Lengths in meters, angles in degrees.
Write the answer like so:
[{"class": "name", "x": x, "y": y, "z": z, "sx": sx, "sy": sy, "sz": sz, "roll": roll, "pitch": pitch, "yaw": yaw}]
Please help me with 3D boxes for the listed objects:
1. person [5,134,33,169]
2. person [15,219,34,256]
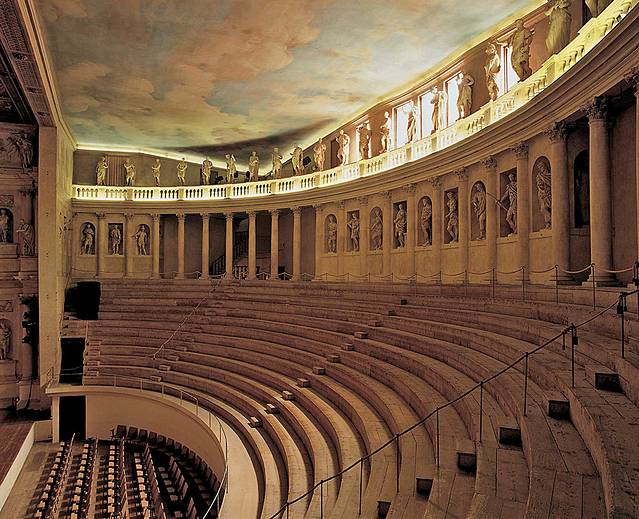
[{"class": "person", "x": -14.684, "y": -5.351, "z": 27.714, "sx": 1.240, "sy": 1.812, "sz": 0.396, "roll": -1, "pitch": -3, "yaw": -2}, {"class": "person", "x": -14.430, "y": -1.041, "z": 27.690, "sx": 0.780, "sy": 1.841, "sz": 0.472, "roll": 0, "pitch": -3, "yaw": -22}]
